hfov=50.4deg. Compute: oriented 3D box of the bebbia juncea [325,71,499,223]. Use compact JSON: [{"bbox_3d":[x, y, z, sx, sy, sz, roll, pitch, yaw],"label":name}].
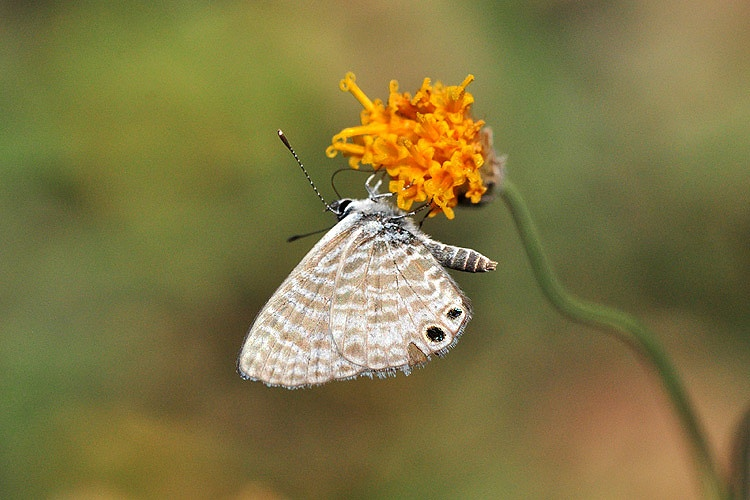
[{"bbox_3d":[0.317,-0.852,6.241,1.270,0.714,1.285,-42,101,9],"label":"bebbia juncea"}]
